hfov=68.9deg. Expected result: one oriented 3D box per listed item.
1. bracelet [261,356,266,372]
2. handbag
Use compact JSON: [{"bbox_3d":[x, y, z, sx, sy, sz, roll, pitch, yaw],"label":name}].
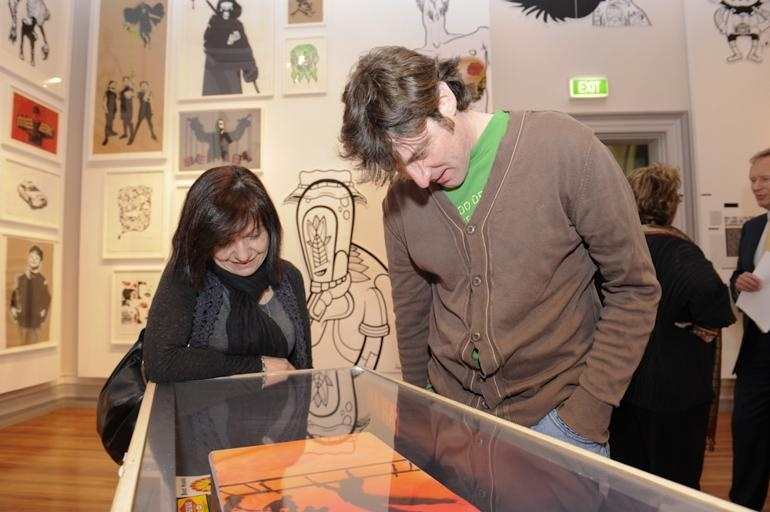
[{"bbox_3d":[-0.571,0.513,2.669,0.012,0.054,0.038,-6,-5,-5],"label":"bracelet"},{"bbox_3d":[-1.185,0.656,2.539,0.165,0.555,0.413,6,6,-28],"label":"handbag"}]
